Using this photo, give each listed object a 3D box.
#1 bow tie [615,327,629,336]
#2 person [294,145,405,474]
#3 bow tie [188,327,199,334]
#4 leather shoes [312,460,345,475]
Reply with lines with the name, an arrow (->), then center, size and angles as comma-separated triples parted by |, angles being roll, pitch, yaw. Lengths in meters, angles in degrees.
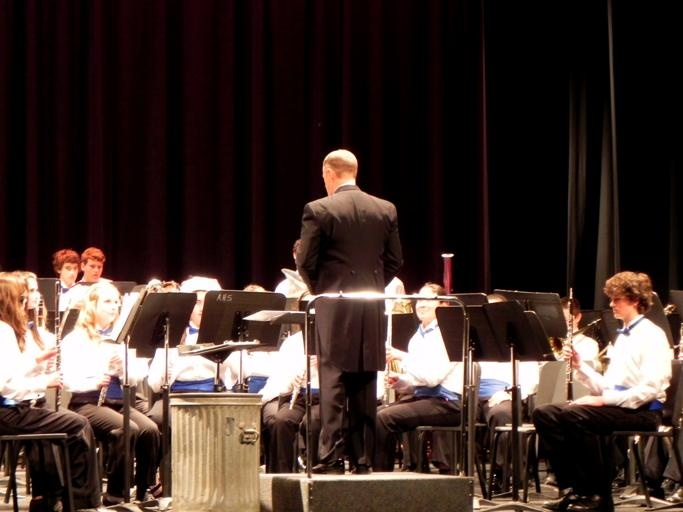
bow tie -> 2.212, 0.585, 7.099 | 0.081, 0.052, 0.116 | -4, -6, 38
person -> 0.065, 0.341, 5.996 | 0.717, 2.115, 0.338 | 0, -10, -10
bow tie -> -1.238, 0.622, 7.612 | 0.084, 0.025, 0.088 | 6, 4, -14
leather shoes -> -0.072, 1.332, 5.774 | 0.229, 0.106, 0.083 | 3, -9, 3
